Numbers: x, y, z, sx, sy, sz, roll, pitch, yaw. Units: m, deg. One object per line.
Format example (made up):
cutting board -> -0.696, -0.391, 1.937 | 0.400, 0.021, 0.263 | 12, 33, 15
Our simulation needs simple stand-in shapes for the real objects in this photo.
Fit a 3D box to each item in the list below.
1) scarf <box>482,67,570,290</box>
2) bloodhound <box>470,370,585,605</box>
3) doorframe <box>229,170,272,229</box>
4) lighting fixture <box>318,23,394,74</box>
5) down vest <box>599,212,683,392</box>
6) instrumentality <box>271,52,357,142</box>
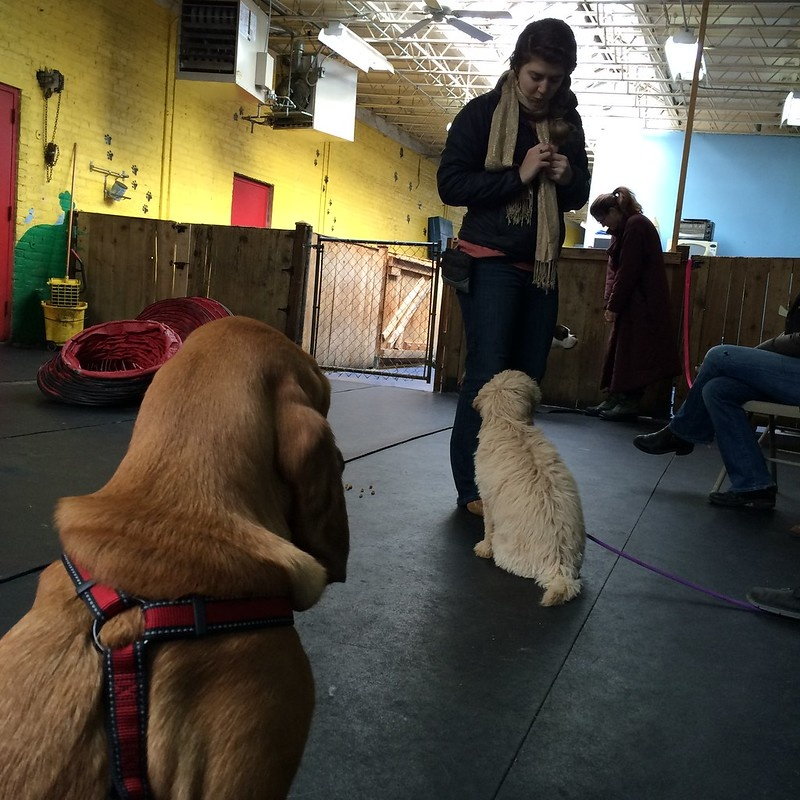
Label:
scarf -> 0.594, -1.063, 2.755 | 0.385, 1.029, 0.205 | 7, 7, 13
bloodhound -> 0.466, 0.298, 2.262 | 0.332, 0.700, 0.898 | -8, 21, -9
doorframe -> -3.524, -4.680, 13.653 | 0.166, 1.199, 1.494 | 8, 7, 21
lighting fixture -> -0.814, -6.959, 11.039 | 0.830, 0.878, 1.730 | 7, 7, 15
down vest -> 2.502, -0.968, 6.025 | 0.793, 1.861, 0.494 | 7, 7, 18
instrumentality -> -1.794, -6.811, 12.776 | 1.900, 1.656, 0.695 | 1, 8, -33
